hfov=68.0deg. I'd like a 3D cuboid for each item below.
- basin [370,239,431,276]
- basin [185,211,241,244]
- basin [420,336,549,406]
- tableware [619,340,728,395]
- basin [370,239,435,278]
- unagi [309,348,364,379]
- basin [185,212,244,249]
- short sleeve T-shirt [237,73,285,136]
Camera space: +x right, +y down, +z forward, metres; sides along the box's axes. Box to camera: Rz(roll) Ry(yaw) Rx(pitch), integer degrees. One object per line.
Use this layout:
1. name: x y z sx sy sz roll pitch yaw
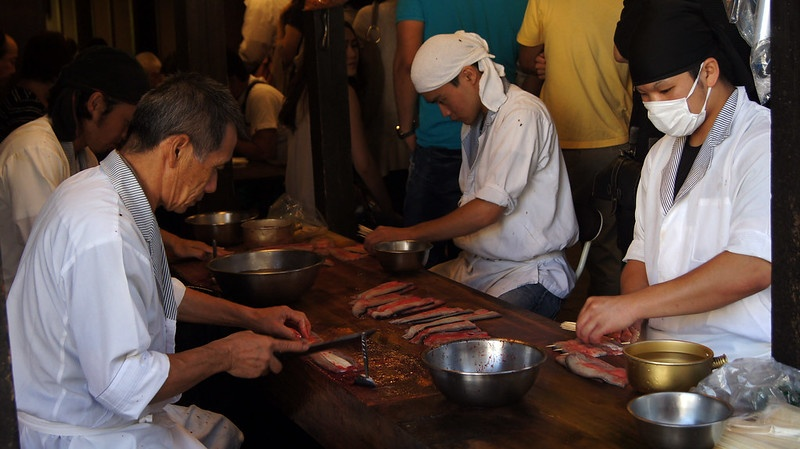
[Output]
1. basin: 0.002 0.251 4.704 0.455 0.188 0.463 1 10 0
2. basin: -1.657 0.030 5.398 0.386 0.152 0.391 0 5 0
3. basin: 0.444 0.780 3.129 0.630 0.216 0.341 -1 19 2
4. tableware: 1.392 0.717 3.055 0.384 0.150 0.313 -1 3 22
5. basin: 0.020 0.257 4.697 0.466 0.189 0.479 0 11 0
6. unagi: -0.363 0.789 3.387 0.140 0.037 0.209 -3 12 -35
7. basin: -1.650 0.036 5.383 0.406 0.162 0.406 1 3 0
8. short sleeve T-shirt: -1.911 -1.517 8.295 0.638 1.046 1.117 -8 20 -19
